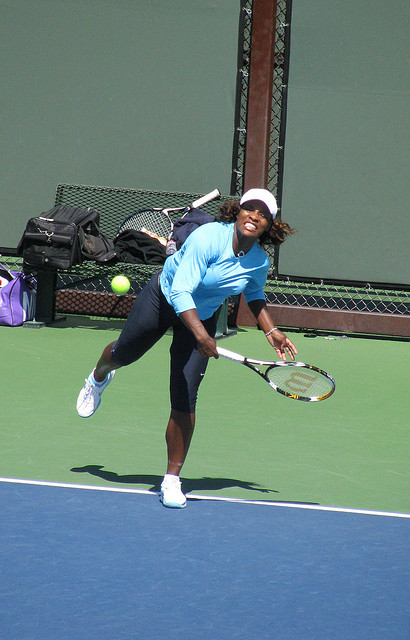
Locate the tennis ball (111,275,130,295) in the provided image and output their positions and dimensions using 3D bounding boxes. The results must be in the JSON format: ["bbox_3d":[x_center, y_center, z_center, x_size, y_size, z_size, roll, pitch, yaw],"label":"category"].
[{"bbox_3d":[-0.819,-0.340,6.297,0.167,0.179,0.173,4,4,0],"label":"tennis ball"}]

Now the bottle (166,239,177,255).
[{"bbox_3d":[-0.268,-0.588,5.191,0.064,0.116,0.175,4,4,-7],"label":"bottle"}]

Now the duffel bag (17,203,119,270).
[{"bbox_3d":[-1.101,-0.799,6.373,0.821,0.474,1.134,12,21,40],"label":"duffel bag"}]

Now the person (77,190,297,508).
[{"bbox_3d":[-0.027,0.076,2.526,0.566,1.100,0.817,2,5,-29],"label":"person"}]
